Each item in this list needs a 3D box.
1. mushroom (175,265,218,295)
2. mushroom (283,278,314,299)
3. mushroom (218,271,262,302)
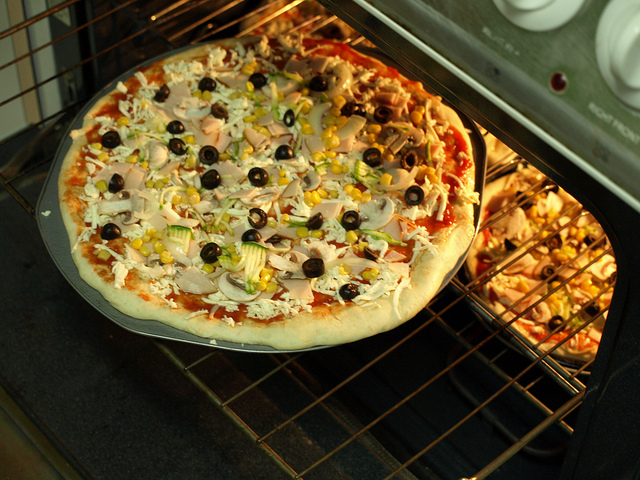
[{"bbox_3d":[-0.262,0.080,1.312,0.061,0.062,0.026,54,-2,-5],"label":"mushroom"},{"bbox_3d":[-0.047,0.103,1.323,0.069,0.034,0.036,11,33,-5],"label":"mushroom"},{"bbox_3d":[-0.173,0.099,1.324,0.025,0.065,0.057,6,7,24],"label":"mushroom"}]
